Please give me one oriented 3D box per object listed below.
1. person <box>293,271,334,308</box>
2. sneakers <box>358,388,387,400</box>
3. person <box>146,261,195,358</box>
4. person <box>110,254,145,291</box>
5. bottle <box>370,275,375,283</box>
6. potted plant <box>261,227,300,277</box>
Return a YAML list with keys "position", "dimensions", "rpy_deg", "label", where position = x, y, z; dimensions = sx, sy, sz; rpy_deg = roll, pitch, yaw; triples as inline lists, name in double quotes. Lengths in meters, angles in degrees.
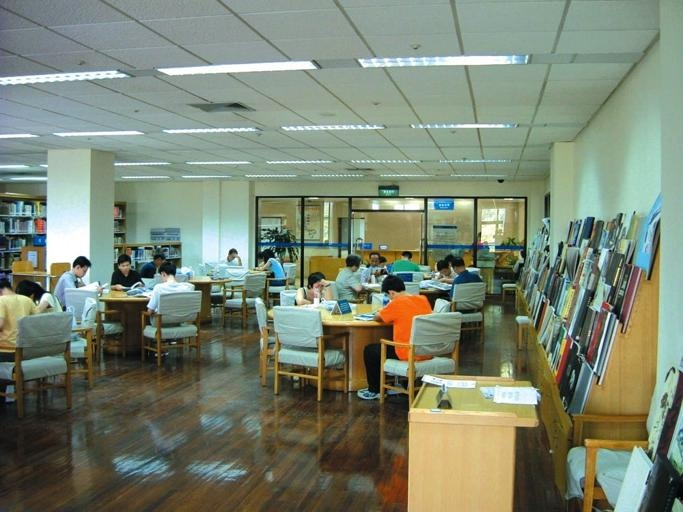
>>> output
- position: [-0.379, 0.477, 8.031]
  dimensions: [0.501, 0.839, 0.473]
  rpy_deg: [4, -8, -24]
  label: "person"
- position: [0.312, 1.597, 6.595]
  dimensions: [0.224, 0.088, 0.107]
  rpy_deg: [3, 0, 16]
  label: "sneakers"
- position: [-2.558, 0.646, 8.471]
  dimensions: [0.735, 1.093, 0.454]
  rpy_deg: [-9, 24, -34]
  label: "person"
- position: [-3.618, 0.360, 9.483]
  dimensions: [0.515, 0.763, 0.522]
  rpy_deg: [-7, 15, -23]
  label: "person"
- position: [0.632, 0.458, 11.382]
  dimensions: [0.127, 0.187, 0.125]
  rpy_deg: [2, -3, 0]
  label: "bottle"
- position: [-1.962, -0.236, 18.131]
  dimensions: [1.413, 1.813, 1.458]
  rpy_deg: [0, -2, -8]
  label: "potted plant"
